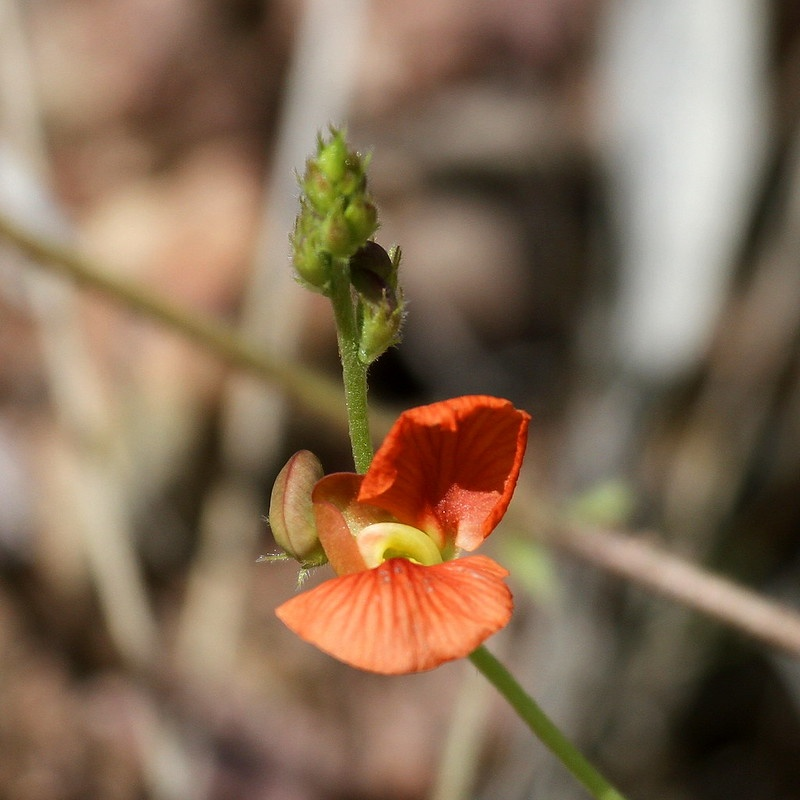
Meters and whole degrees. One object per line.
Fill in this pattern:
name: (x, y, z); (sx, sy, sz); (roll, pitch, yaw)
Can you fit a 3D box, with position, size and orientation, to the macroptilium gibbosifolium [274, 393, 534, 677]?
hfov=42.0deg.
macroptilium gibbosifolium: (0.045, 0.320, 2.659); (0.822, 0.627, 0.522); (-3, 19, 7)
